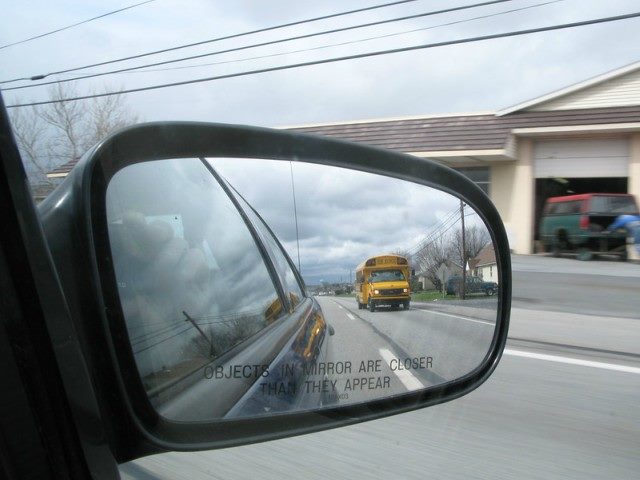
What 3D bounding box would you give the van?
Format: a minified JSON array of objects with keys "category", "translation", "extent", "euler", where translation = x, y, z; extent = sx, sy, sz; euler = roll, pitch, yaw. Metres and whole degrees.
[{"category":"van","translation":[8.359,-0.432,13.928],"extent":[1.573,1.604,2.690],"euler":[0,1,-16]}]
